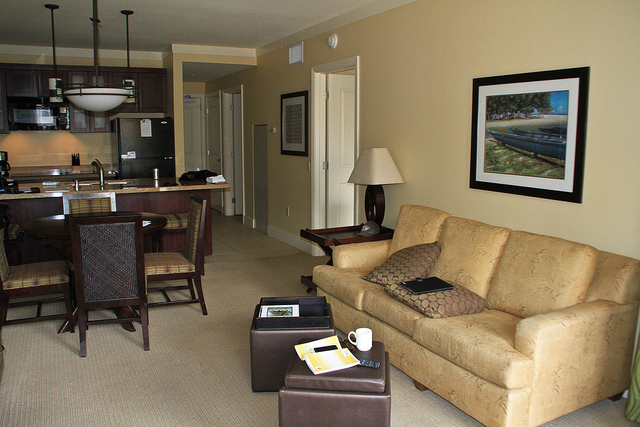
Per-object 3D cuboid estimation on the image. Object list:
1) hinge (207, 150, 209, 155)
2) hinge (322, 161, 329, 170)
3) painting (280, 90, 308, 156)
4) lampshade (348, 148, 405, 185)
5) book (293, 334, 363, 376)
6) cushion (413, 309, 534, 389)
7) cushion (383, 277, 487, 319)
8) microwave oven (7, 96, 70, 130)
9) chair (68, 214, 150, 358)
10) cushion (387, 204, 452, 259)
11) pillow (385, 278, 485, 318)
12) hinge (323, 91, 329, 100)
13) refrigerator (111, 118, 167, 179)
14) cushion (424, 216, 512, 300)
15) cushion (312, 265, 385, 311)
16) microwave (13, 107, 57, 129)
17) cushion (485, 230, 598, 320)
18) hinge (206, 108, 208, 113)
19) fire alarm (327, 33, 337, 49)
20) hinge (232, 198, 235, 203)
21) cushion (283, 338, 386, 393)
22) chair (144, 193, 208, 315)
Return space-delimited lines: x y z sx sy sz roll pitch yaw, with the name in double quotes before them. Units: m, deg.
"hinge" -2.609 -1.423 10.498 0.040 0.145 0.050 0 1 6
"hinge" 0.081 -0.702 6.749 0.095 0.121 0.089 5 11 19
"painting" -0.388 -1.437 7.041 0.049 1.055 1.124 -4 7 -28
"lampshade" 0.645 -0.509 5.073 0.492 0.310 0.469 -1 2 -24
"book" 0.053 0.953 3.023 0.346 0.092 0.342 -4 12 -27
"cushion" 1.231 1.001 3.334 0.542 0.117 0.538 -2 7 -24
"cushion" 1.041 0.729 3.710 0.410 0.103 0.411 -4 10 -28
"microwave oven" -4.751 -1.693 7.532 0.893 0.543 0.474 -4 11 -36
"chair" -2.076 0.709 4.259 0.633 1.220 0.726 -2 -8 -41
"cushion" 1.060 0.301 4.680 0.272 0.670 0.755 7 4 -24
"pillow" 1.043 0.701 3.931 0.672 0.140 0.732 22 15 41
"hinge" 0.087 -1.737 6.604 0.086 0.108 0.037 -1 13 -11
"refrigerator" -3.090 -1.134 7.875 0.816 1.023 0.256 0 13 -5
"cushion" 1.330 0.370 4.033 0.193 0.692 0.765 16 1 -27
"cushion" 0.293 0.680 4.445 0.412 0.118 0.519 -4 9 -32
"microwave" -4.851 -1.644 7.704 0.419 0.386 0.657 9 21 44
"cushion" 1.742 0.491 3.602 0.338 0.690 0.760 18 -1 -34
"hinge" -2.614 -2.387 10.426 0.071 0.100 0.015 13 17 43
"fire alarm" 0.166 -2.358 6.141 0.051 0.209 0.182 -6 14 -28
"hinge" -1.898 -0.288 9.892 0.028 0.105 0.057 12 17 40
"cushion" 0.113 1.010 3.011 0.636 0.151 0.390 2 11 4
"chair" -1.568 0.436 4.907 0.626 1.278 0.712 -4 13 -20
